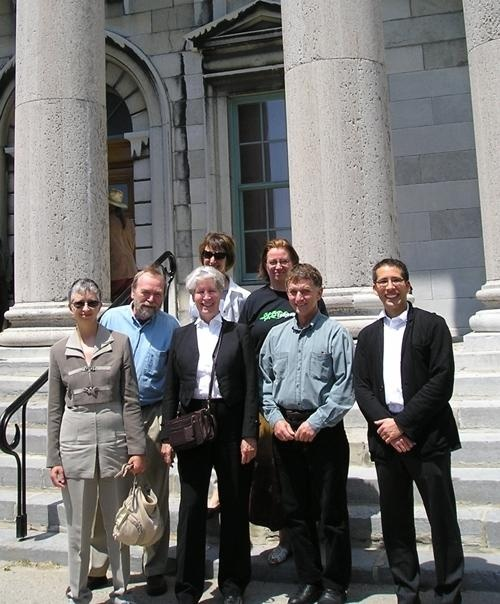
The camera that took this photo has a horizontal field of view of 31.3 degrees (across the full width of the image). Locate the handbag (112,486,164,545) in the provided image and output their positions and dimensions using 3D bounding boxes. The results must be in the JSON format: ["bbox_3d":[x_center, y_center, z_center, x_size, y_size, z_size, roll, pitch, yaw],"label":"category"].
[{"bbox_3d":[-0.725,1.364,5.677,0.207,0.332,0.353,-14,-22,26],"label":"handbag"}]

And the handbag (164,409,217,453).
[{"bbox_3d":[-0.382,0.802,5.690,0.365,0.228,0.256,-17,-13,32],"label":"handbag"}]
